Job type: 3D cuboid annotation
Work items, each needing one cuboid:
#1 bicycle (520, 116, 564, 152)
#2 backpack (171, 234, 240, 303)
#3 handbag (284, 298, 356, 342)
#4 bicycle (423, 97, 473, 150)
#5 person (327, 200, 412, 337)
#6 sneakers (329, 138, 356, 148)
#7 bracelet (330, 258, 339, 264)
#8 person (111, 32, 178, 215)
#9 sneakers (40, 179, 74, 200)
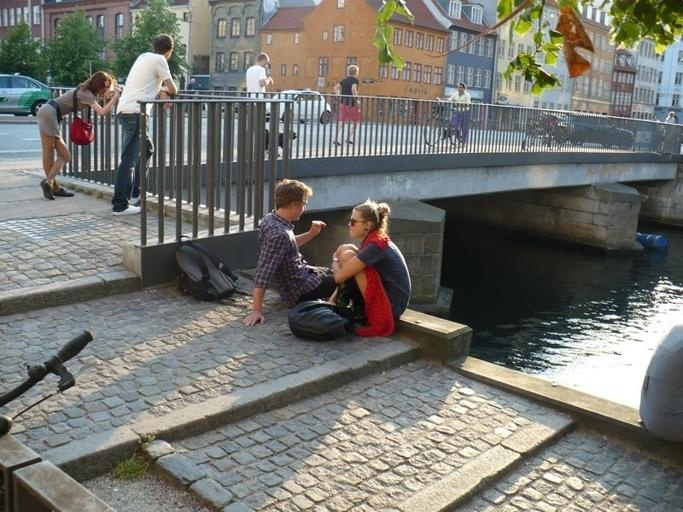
[{"bbox_3d":[7.467,-4.588,19.147,0.079,1.398,1.916,-16,20,-32],"label":"bicycle"},{"bbox_3d":[-1.576,0.157,6.142,0.478,0.796,0.630,-14,-2,18],"label":"backpack"},{"bbox_3d":[-0.273,0.622,5.510,0.690,0.392,0.888,10,9,5],"label":"handbag"},{"bbox_3d":[3.091,-3.828,14.988,0.994,1.196,2.062,26,24,36],"label":"bicycle"},{"bbox_3d":[0.282,0.115,5.599,0.902,1.352,0.856,-4,11,-31],"label":"person"},{"bbox_3d":[0.036,-2.653,12.211,0.590,0.231,0.177,-10,17,-26],"label":"sneakers"},{"bbox_3d":[-0.072,0.065,5.495,0.070,0.068,0.069,4,12,25],"label":"bracelet"},{"bbox_3d":[-3.021,-1.991,7.937,0.951,2.725,0.813,-9,18,-42],"label":"person"},{"bbox_3d":[-4.807,-1.095,8.732,0.218,0.286,0.677,27,19,31],"label":"sneakers"}]
